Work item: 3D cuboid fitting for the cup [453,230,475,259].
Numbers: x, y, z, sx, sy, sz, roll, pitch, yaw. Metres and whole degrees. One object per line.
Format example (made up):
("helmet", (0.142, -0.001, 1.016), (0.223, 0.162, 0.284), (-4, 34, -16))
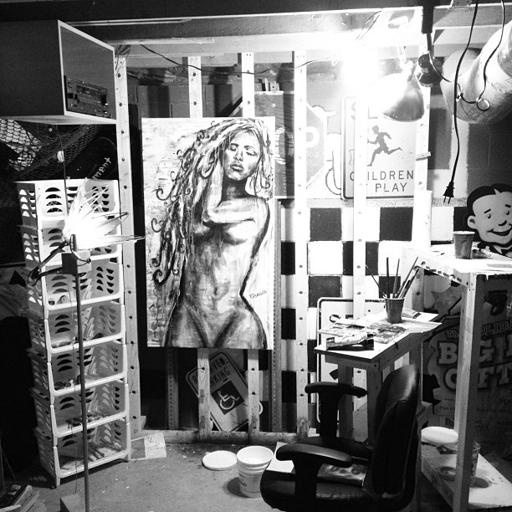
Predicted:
("cup", (1.008, -0.060, 3.419), (0.105, 0.128, 0.116), (0, 2, -1))

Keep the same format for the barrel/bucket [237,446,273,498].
("barrel/bucket", (-0.012, 1.146, 3.846), (0.200, 0.254, 0.257), (1, 9, 2))

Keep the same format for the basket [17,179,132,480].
("basket", (-1.004, 0.407, 3.911), (0.590, 1.665, 0.397), (-2, 8, -22))

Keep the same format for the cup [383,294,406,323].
("cup", (0.709, 0.272, 3.615), (0.108, 0.142, 0.114), (0, -2, 0))

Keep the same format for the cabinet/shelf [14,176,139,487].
("cabinet/shelf", (-0.998, 0.566, 4.078), (0.415, 1.358, 0.417), (-4, 16, 1))
